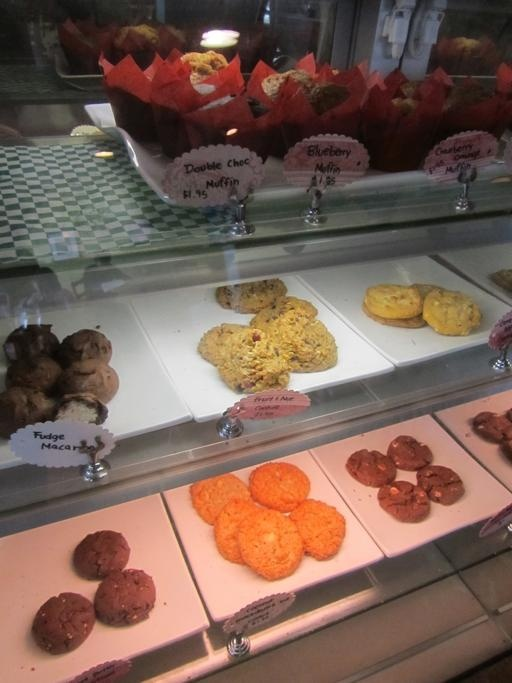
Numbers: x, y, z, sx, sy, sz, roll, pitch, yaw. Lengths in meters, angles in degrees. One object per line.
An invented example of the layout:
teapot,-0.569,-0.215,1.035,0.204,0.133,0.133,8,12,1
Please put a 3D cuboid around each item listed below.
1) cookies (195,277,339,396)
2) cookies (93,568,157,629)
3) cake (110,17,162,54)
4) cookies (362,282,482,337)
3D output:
cookies,0.021,-0.008,1.027,0.246,0.058,0.256,-3,35,-14
cookies,-0.299,0.557,1.191,0.144,0.043,0.153,20,23,-7
cake,-0.153,-0.391,0.683,0.058,0.031,0.023,-15,14,-16
cookies,0.370,-0.076,1.183,0.196,0.034,0.141,21,38,16
